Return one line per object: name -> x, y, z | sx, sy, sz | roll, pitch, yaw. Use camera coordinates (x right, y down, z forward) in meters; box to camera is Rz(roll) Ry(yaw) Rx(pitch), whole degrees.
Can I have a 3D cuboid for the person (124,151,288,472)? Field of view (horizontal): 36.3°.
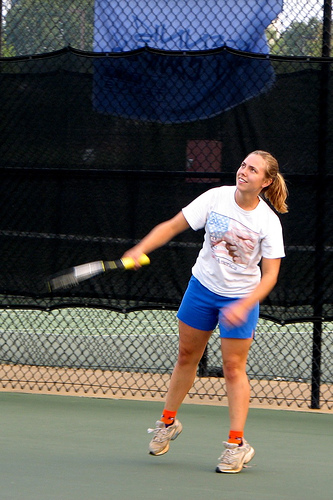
person -> 0.181, 0.260, 2.082 | 0.564, 1.309, 0.490 | 2, -6, 11
